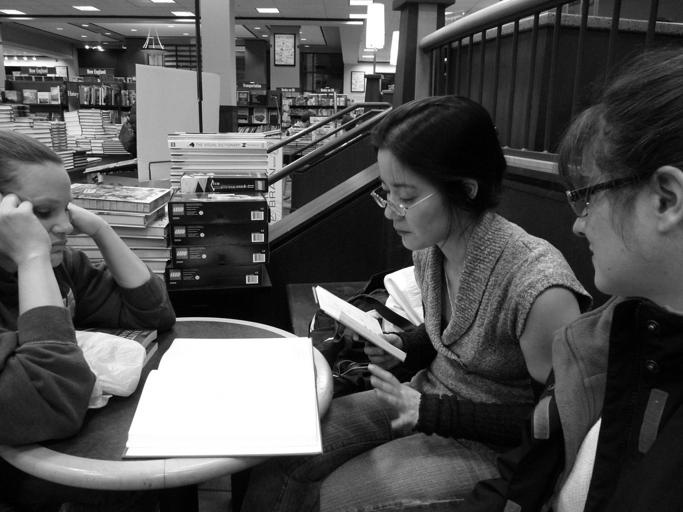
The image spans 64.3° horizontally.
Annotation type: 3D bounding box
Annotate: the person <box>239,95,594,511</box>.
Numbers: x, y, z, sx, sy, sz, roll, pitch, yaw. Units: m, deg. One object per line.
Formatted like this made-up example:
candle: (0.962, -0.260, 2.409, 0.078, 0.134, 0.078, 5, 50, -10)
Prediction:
person: (0.295, 0.025, 2.176, 1.208, 1.863, 0.881, 0, 5, 0)

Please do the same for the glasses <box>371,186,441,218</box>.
glasses: (0.203, -0.140, 1.592, 0.123, 0.038, 0.126, -27, 37, -12)

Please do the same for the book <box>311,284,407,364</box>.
book: (0.066, 0.245, 1.893, 0.379, 0.029, 0.319, 38, 4, -21)

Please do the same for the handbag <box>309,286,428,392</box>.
handbag: (0.031, 0.282, 1.786, 0.396, 0.173, 0.313, 14, 19, -19)

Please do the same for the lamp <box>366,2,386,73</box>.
lamp: (0.602, -4.201, 9.870, 0.302, 0.784, 0.419, -1, 14, 0)

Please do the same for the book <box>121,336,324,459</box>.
book: (-0.231, 0.291, 1.115, 0.244, 0.038, 0.273, 0, 29, -3)
